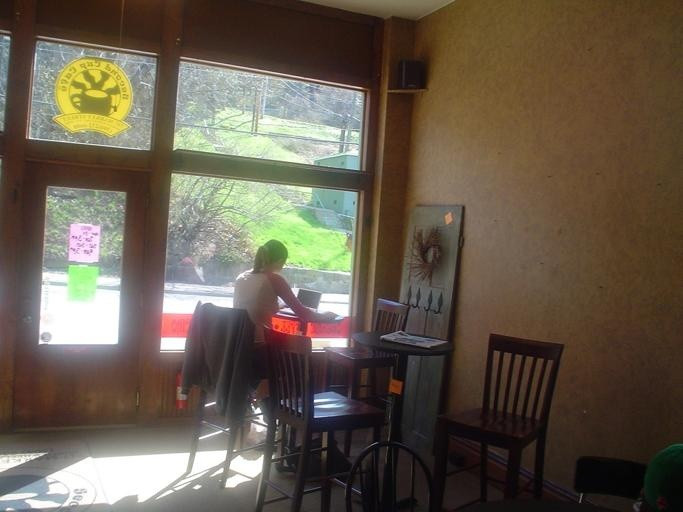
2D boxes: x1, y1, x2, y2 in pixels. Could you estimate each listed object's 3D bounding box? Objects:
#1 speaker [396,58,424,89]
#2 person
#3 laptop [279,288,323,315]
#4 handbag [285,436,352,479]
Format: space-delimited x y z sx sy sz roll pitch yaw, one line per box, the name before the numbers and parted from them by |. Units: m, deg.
speaker | 0.667 -1.755 5.769 0.325 0.331 0.178 0 -1 -11
person | -0.513 0.594 4.775 0.747 1.443 0.695 -2 8 -41
laptop | -0.351 0.388 5.239 0.240 0.156 0.232 17 1 27
handbag | -0.161 1.590 4.571 0.502 0.212 0.394 3 2 35
